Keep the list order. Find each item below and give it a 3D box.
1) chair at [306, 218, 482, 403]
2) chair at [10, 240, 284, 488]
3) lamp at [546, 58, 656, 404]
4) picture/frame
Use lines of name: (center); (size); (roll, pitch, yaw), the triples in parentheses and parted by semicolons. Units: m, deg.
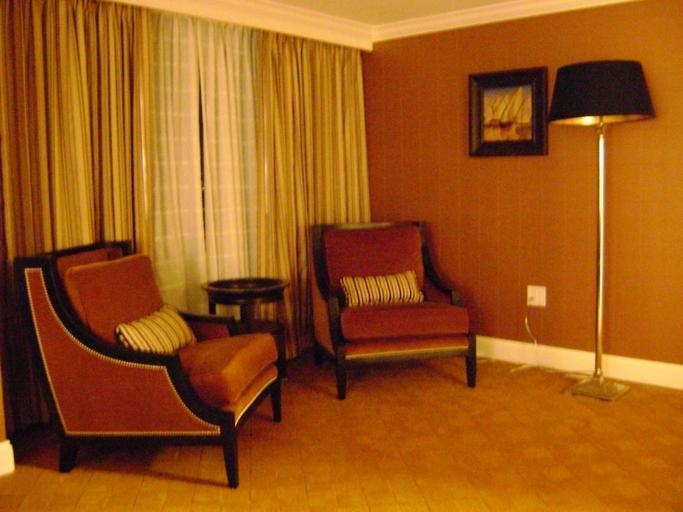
chair: (0.340, 0.343, 4.573); (1.025, 1.219, 1.259); (-2, 0, -12)
chair: (-1.079, 0.567, 3.526); (1.244, 1.206, 1.000); (1, 7, 16)
lamp: (1.759, -0.199, 4.104); (0.614, 2.249, 0.700); (7, 15, 35)
picture/frame: (1.321, -1.150, 4.583); (0.693, 0.785, 0.054); (1, 4, 32)
